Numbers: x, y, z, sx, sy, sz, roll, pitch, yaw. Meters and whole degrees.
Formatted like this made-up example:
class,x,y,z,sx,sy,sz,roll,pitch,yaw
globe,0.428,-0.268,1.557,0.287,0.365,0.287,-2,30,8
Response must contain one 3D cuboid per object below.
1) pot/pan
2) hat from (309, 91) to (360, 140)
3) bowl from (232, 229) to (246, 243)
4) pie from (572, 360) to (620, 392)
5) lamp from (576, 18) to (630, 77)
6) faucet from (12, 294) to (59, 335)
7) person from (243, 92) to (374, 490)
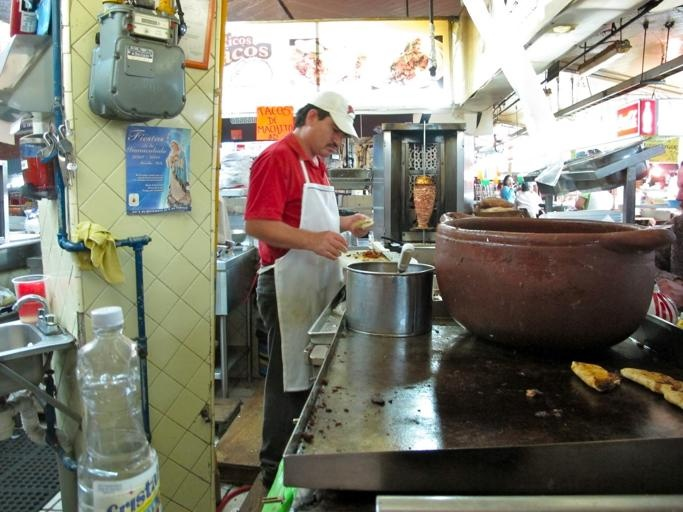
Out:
class,x,y,z,sx,sy,sz,roll,pitch,yaw
pot/pan,0.183,0.151,2.012,0.309,0.174,0.272,0,0,-1
hat,-0.012,-0.804,2.888,0.304,0.149,0.202,31,13,-6
bowl,-0.976,-0.199,4.900,0.158,0.096,0.156,1,17,0
pie,0.738,0.347,1.511,0.134,0.053,0.107,4,9,27
lamp,2.602,-2.080,5.115,0.357,0.351,1.110,2,8,18
faucet,-1.394,0.269,2.432,0.253,0.184,0.199,5,3,44
person,-0.171,0.171,2.939,0.633,2.156,0.647,1,8,12
